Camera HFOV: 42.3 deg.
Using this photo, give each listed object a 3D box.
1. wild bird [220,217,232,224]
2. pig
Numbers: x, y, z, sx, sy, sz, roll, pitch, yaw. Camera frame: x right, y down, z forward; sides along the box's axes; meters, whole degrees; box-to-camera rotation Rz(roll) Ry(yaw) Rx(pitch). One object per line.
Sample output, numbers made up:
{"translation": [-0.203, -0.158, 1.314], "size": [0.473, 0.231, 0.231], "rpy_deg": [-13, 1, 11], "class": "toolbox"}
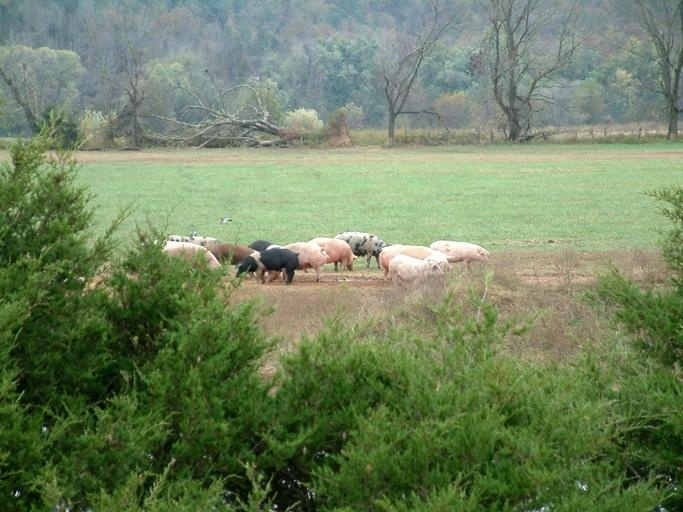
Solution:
{"translation": [-3.837, -1.173, 29.487], "size": [0.312, 0.148, 0.207], "rpy_deg": [-1, 2, -14], "class": "wild bird"}
{"translation": [-0.421, 0.094, 19.930], "size": [4.066, 1.480, 0.847], "rpy_deg": [4, 12, -2], "class": "pig"}
